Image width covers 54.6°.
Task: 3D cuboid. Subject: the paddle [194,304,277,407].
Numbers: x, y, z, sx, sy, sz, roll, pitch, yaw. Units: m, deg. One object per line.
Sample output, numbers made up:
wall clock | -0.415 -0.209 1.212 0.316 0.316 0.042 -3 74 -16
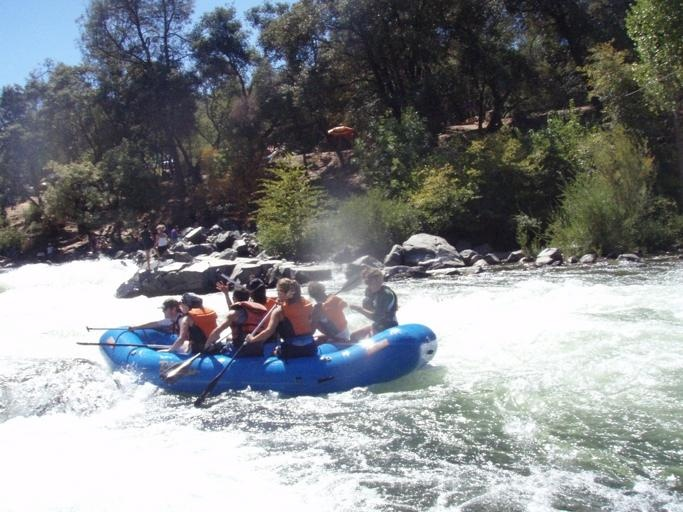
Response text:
paddle | -2.103 2.082 13.341 2.406 0.229 0.253 -49 6 -10

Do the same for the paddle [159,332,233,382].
paddle | -3.049 2.151 13.600 1.704 0.601 0.296 -29 5 -34

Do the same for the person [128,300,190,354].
person | -3.746 1.415 14.205 1.224 0.561 0.911 26 24 38

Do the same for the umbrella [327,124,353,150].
umbrella | -0.088 -6.160 34.563 1.229 1.347 1.236 2 5 45

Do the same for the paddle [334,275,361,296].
paddle | 0.178 0.879 18.346 0.739 0.206 0.113 -44 34 -12
